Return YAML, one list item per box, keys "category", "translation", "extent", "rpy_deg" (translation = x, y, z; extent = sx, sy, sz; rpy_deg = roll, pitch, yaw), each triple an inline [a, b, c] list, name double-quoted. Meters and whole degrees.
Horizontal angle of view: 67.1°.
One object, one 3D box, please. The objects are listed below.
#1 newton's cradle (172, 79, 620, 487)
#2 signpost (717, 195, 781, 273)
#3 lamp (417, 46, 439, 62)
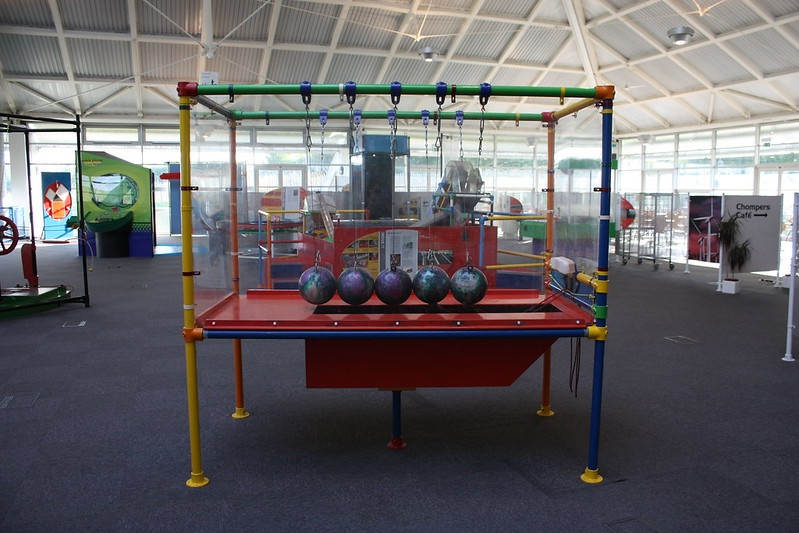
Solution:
- category: "newton's cradle"
  translation: [0.009, 0.011, 5.864]
  extent: [3.605, 3.441, 2.211]
  rpy_deg: [-1, 7, 0]
- category: "signpost"
  translation: [6.377, -0.604, 10.845]
  extent: [1.204, 1.362, 0.326]
  rpy_deg: [-3, 7, -15]
- category: "lamp"
  translation: [0.692, -5.228, 14.789]
  extent: [0.350, 0.287, 0.825]
  rpy_deg: [0, 7, 9]
